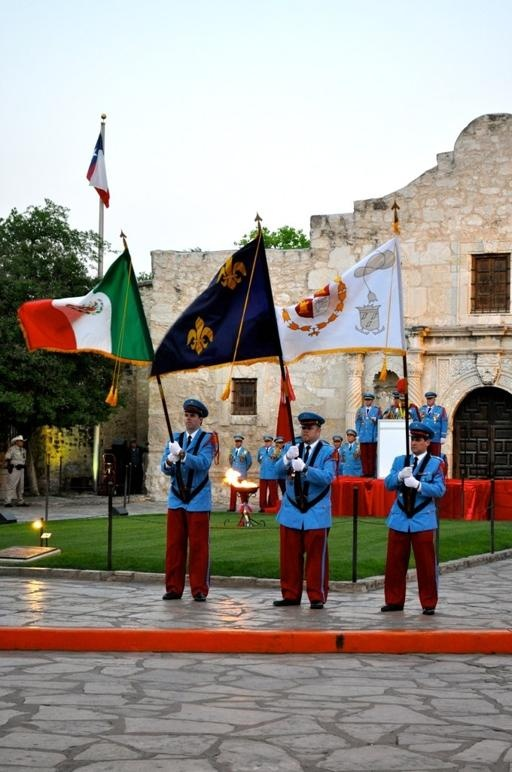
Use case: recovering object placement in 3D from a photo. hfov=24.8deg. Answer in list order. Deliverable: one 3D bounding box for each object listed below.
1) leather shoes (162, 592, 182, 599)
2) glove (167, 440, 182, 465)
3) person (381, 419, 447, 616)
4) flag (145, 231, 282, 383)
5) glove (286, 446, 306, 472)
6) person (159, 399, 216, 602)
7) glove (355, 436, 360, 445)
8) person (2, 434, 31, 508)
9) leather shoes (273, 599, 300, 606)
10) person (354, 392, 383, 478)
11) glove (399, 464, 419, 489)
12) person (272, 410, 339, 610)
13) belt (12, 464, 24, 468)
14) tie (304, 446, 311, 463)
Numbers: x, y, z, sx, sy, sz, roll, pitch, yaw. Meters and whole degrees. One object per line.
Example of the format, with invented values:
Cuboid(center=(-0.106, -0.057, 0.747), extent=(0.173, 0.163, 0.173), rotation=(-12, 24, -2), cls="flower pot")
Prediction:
Cuboid(center=(-0.662, 1.680, 9.389), extent=(0.149, 0.062, 0.053), rotation=(7, -6, -9), cls="leather shoes")
Cuboid(center=(-0.643, 0.542, 9.429), extent=(0.138, 0.165, 0.074), rotation=(2, 6, -2), cls="glove")
Cuboid(center=(1.217, 1.018, 9.104), extent=(0.487, 1.451, 0.768), rotation=(-1, -2, 8), cls="person")
Cuboid(center=(-0.271, -0.648, 9.432), extent=(1.058, 1.048, 0.229), rotation=(-2, -2, 28), cls="flag")
Cuboid(center=(0.312, 0.565, 9.012), extent=(0.071, 0.191, 0.158), rotation=(-12, -8, 26), cls="glove")
Cuboid(center=(-0.543, 0.925, 9.629), extent=(0.430, 1.626, 0.696), rotation=(-1, -2, -3), cls="person")
Cuboid(center=(1.848, 0.994, 21.196), extent=(0.096, 0.122, 0.054), rotation=(-7, -12, 41), cls="glove")
Cuboid(center=(-4.623, 1.633, 22.618), extent=(0.410, 1.339, 1.317), rotation=(0, -2, -12), cls="person")
Cuboid(center=(0.242, 1.691, 9.098), extent=(0.213, 0.078, 0.069), rotation=(4, -4, 1), cls="leather shoes")
Cuboid(center=(1.996, 0.860, 20.534), extent=(0.419, 1.459, 0.975), rotation=(-1, -2, 5), cls="person")
Cuboid(center=(1.186, 0.713, 9.041), extent=(0.149, 0.179, 0.238), rotation=(-1, -2, 6), cls="glove")
Cuboid(center=(0.377, 0.963, 9.179), extent=(0.460, 1.505, 0.540), rotation=(-1, -2, 12), cls="person")
Cuboid(center=(-4.517, 1.553, 22.522), extent=(0.082, 0.094, 0.239), rotation=(-2, -2, 24), cls="belt")
Cuboid(center=(0.412, 0.541, 9.288), extent=(0.030, 0.169, 0.024), rotation=(4, -40, 12), cls="tie")
